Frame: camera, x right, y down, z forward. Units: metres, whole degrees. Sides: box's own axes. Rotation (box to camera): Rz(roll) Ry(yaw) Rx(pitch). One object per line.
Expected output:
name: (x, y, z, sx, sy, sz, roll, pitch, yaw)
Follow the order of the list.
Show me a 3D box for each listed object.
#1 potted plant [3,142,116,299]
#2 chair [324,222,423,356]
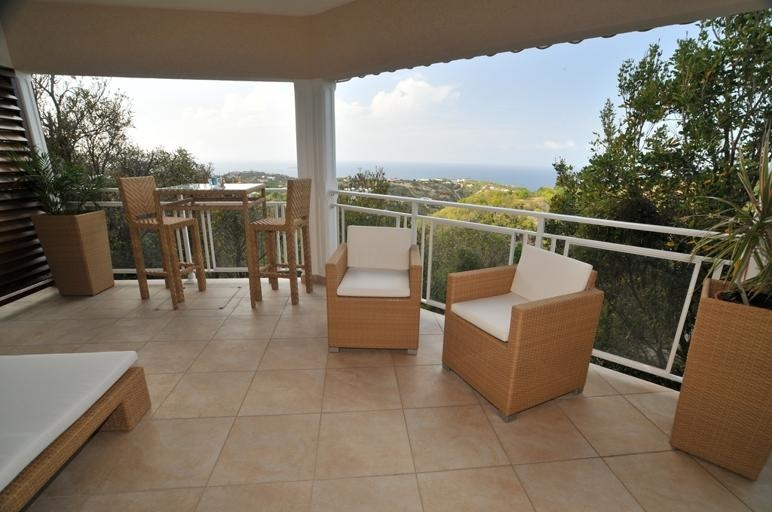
potted plant: (-4.148, -0.426, 5.803, 0.935, 1.849, 0.575, 1, 15, 6)
chair: (-0.106, 0.271, 4.992, 1.106, 1.448, 1.307, 1, 17, 1)
